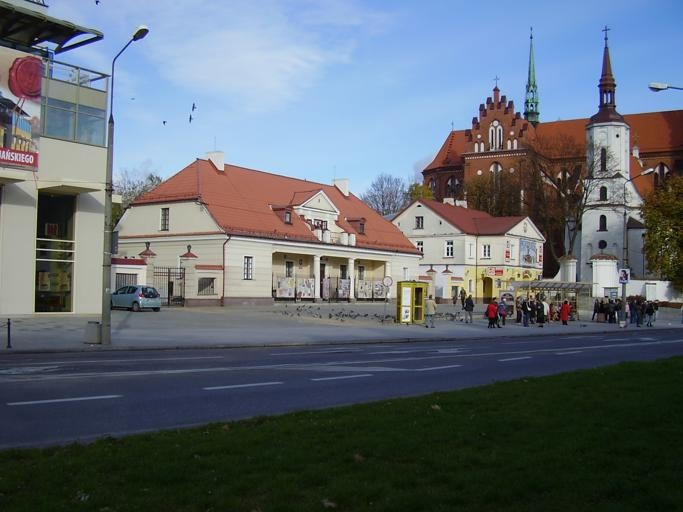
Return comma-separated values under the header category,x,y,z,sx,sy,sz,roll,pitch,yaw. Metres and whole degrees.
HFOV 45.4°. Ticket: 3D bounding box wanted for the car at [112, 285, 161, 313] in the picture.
category,x,y,z,sx,sy,sz,roll,pitch,yaw
car,-10.932,2.206,43.407,2.287,1.048,1.385,3,0,37
